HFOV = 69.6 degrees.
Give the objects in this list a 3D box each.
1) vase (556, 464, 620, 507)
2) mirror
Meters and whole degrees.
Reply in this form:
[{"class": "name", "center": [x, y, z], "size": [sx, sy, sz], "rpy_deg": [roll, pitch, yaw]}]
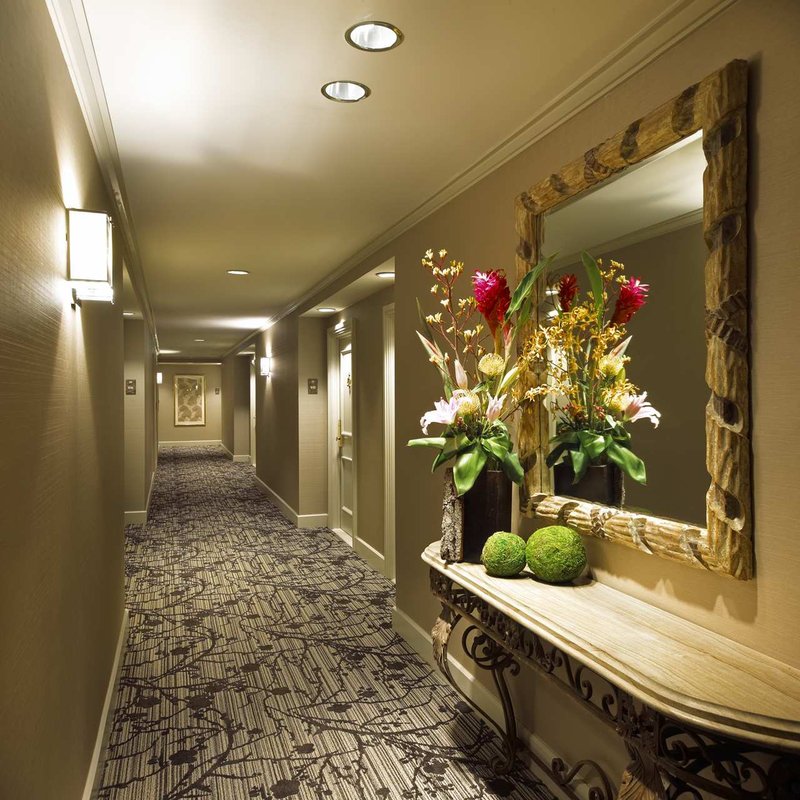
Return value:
[{"class": "vase", "center": [0.674, 0.295, 1.977], "size": [0.091, 0.162, 0.189], "rpy_deg": [1, -3, -21]}, {"class": "mirror", "center": [0.732, -0.203, 1.804], "size": [0.062, 1.318, 0.811], "rpy_deg": [0, 1, -21]}]
